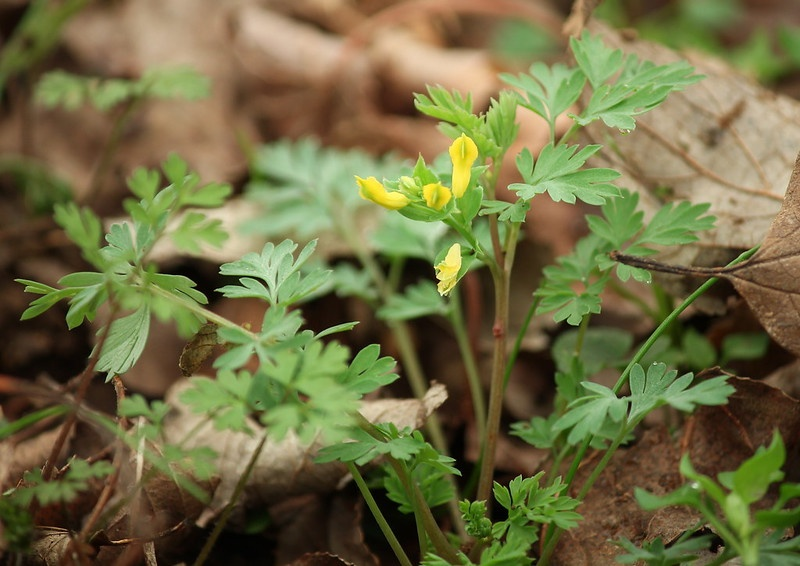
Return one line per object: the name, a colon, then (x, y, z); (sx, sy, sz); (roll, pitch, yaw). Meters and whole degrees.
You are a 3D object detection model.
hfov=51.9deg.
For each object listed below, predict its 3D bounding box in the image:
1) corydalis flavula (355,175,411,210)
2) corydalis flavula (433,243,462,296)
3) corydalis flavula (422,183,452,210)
corydalis flavula: (-0.050, -0.284, 2.599); (0.174, 0.078, 0.084); (18, 7, -5)
corydalis flavula: (0.155, -0.042, 2.661); (0.057, 0.168, 0.079); (12, -3, -35)
corydalis flavula: (0.117, -0.270, 2.564); (0.071, 0.084, 0.032); (5, 0, 0)
